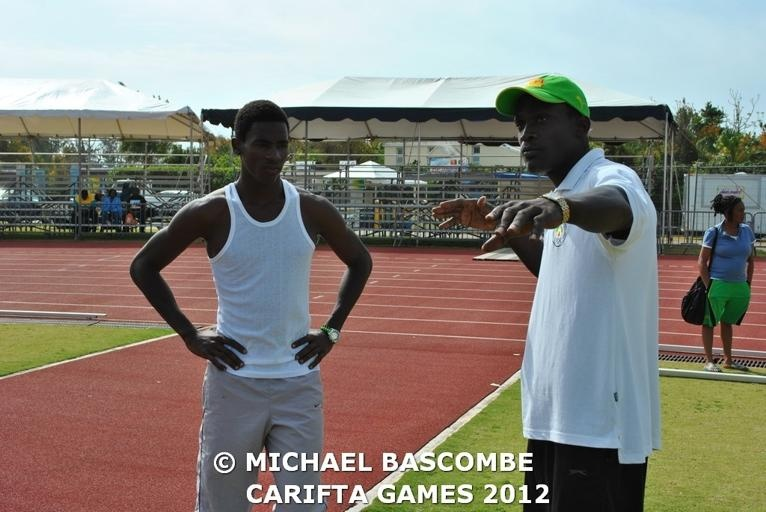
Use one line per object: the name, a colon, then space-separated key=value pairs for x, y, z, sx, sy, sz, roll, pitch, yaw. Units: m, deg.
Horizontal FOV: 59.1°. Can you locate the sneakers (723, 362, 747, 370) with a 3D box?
sneakers: x=4.288 y=1.339 z=8.203 sx=0.212 sy=0.090 sz=0.070 roll=-2 pitch=6 yaw=-17

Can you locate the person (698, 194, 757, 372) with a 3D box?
person: x=4.144 y=0.317 z=8.133 sx=0.577 sy=2.095 sz=0.891 roll=1 pitch=7 yaw=29

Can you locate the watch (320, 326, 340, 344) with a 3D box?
watch: x=-0.322 y=0.448 z=3.933 sx=0.110 sy=0.066 sz=0.088 roll=20 pitch=-2 yaw=35
